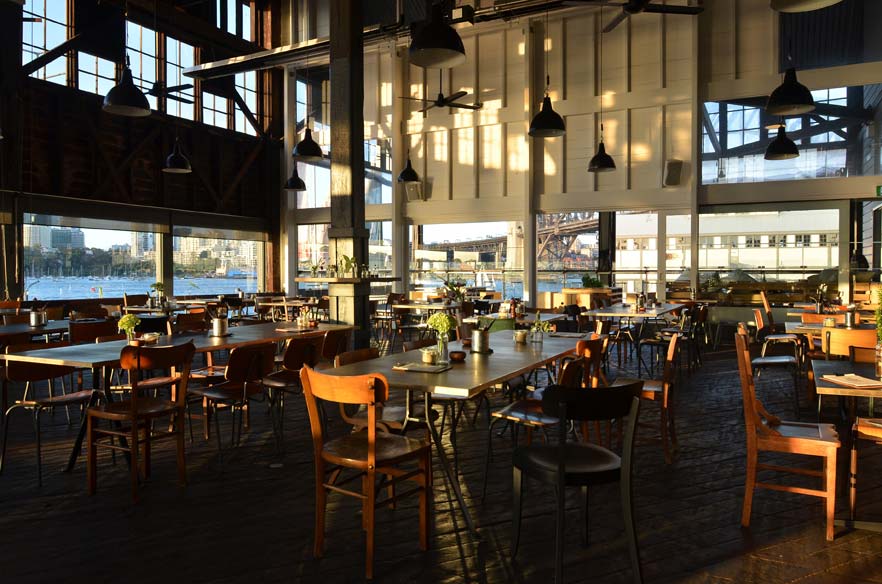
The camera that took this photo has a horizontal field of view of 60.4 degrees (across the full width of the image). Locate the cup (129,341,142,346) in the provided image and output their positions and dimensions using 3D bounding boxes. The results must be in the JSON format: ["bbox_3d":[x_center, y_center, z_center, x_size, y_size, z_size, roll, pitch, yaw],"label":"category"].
[{"bbox_3d":[-3.482,0.584,8.635,0.127,0.082,0.124,2,3,0],"label":"cup"}]

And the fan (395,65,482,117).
[{"bbox_3d":[0.072,-4.376,15.753,1.149,1.138,1.345,2,-6,-23],"label":"fan"}]

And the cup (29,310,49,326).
[{"bbox_3d":[-5.519,0.367,10.444,0.240,0.223,0.241,-1,-4,0],"label":"cup"}]

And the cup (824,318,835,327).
[{"bbox_3d":[5.024,0.394,9.807,0.155,0.140,0.090,0,-2,-7],"label":"cup"}]

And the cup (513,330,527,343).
[{"bbox_3d":[0.926,0.520,8.758,0.146,0.099,0.140,0,-3,0],"label":"cup"}]

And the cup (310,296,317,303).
[{"bbox_3d":[-2.494,0.169,14.880,0.146,0.152,0.142,3,-1,0],"label":"cup"}]

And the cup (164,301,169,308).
[{"bbox_3d":[-5.044,0.241,13.908,0.157,0.125,0.095,1,2,-5],"label":"cup"}]

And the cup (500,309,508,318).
[{"bbox_3d":[0.958,0.337,11.405,0.102,0.091,0.099,0,3,0],"label":"cup"}]

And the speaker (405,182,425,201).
[{"bbox_3d":[-0.621,-2.381,18.296,0.450,0.381,0.117,2,10,36],"label":"speaker"}]

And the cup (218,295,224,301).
[{"bbox_3d":[-4.623,0.130,15.925,0.108,0.100,0.059,-4,-7,43],"label":"cup"}]

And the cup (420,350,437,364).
[{"bbox_3d":[-0.118,0.663,7.706,0.133,0.106,0.128,0,-4,0],"label":"cup"}]

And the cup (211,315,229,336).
[{"bbox_3d":[-2.758,0.422,9.397,0.227,0.227,0.240,1,2,0],"label":"cup"}]
